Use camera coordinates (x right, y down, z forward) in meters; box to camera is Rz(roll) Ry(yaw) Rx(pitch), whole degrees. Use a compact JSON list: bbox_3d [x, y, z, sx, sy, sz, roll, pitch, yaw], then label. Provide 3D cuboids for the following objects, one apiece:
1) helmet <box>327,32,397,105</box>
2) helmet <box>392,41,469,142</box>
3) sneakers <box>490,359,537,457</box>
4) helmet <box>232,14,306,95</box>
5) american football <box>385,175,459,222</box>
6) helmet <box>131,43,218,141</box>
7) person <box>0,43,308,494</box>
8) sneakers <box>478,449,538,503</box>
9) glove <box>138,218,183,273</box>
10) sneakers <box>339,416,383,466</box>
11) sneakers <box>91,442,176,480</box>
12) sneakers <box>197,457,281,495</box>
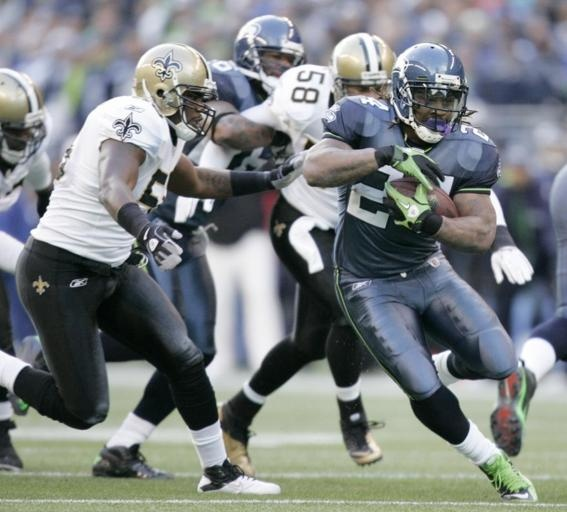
[{"bbox_3d":[0.399,-0.927,4.298,0.332,0.368,0.413,-6,6,-5],"label":"helmet"},{"bbox_3d":[0.610,-0.646,3.455,0.297,0.367,0.373,4,12,0],"label":"helmet"},{"bbox_3d":[1.078,0.717,4.178,0.219,0.505,0.168,21,-32,-31],"label":"sneakers"},{"bbox_3d":[-0.091,-1.107,4.606,0.316,0.387,0.367,-11,26,-38],"label":"helmet"},{"bbox_3d":[0.551,-0.214,3.340,0.232,0.140,0.114,23,34,-6],"label":"american football"},{"bbox_3d":[-0.450,-0.676,3.501,0.358,0.381,0.292,7,12,-15],"label":"helmet"},{"bbox_3d":[-0.585,0.064,3.361,1.062,1.704,0.923,-6,17,-20],"label":"person"},{"bbox_3d":[0.868,0.833,3.268,0.127,0.170,0.225,-13,20,-39],"label":"sneakers"},{"bbox_3d":[-0.429,-0.044,2.937,0.131,0.143,0.211,-4,16,-16],"label":"glove"},{"bbox_3d":[0.375,0.899,4.180,0.110,0.125,0.310,-19,50,0],"label":"sneakers"},{"bbox_3d":[-0.653,0.930,3.962,0.433,0.184,0.145,3,-7,-4],"label":"sneakers"},{"bbox_3d":[-0.196,0.892,3.489,0.396,0.171,0.127,1,-14,-1],"label":"sneakers"}]
